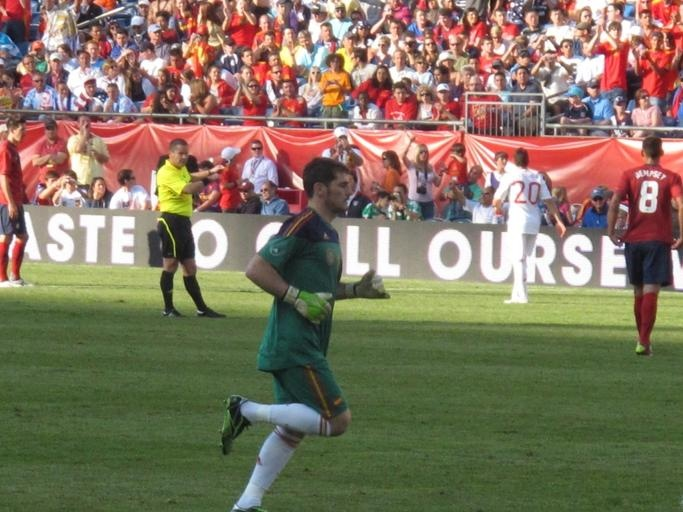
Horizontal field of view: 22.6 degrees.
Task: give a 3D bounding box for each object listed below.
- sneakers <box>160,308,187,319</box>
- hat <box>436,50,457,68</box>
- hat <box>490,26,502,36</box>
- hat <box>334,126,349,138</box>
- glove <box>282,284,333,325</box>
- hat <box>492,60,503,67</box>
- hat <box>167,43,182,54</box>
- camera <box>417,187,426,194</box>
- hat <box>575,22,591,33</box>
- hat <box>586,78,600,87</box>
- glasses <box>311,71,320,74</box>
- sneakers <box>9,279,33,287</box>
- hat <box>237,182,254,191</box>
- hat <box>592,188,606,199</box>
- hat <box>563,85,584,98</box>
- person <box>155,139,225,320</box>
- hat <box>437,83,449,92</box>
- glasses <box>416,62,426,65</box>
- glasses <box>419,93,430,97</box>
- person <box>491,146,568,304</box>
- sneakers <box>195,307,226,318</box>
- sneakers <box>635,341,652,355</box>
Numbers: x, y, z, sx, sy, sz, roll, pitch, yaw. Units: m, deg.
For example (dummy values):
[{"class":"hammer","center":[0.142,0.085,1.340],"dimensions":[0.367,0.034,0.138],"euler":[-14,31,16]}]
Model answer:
[{"class":"sneakers","center":[-2.678,0.936,27.106],"dimensions":[0.351,0.153,0.129],"euler":[0,0,4]},{"class":"hat","center":[2.105,-3.947,34.285],"dimensions":[0.360,0.333,0.766],"euler":[1,2,3]},{"class":"hat","center":[3.133,-4.548,34.658],"dimensions":[0.172,0.222,0.220],"euler":[-2,8,1]},{"class":"hat","center":[-0.015,-2.317,32.154],"dimensions":[0.216,0.193,0.198],"euler":[-1,3,-40]},{"class":"glove","center":[-0.404,0.583,20.429],"dimensions":[0.499,0.423,0.252],"euler":[13,35,14]},{"class":"hat","center":[3.089,-3.774,33.558],"dimensions":[0.202,0.178,0.349],"euler":[2,2,29]},{"class":"hat","center":[-3.460,-4.322,35.807],"dimensions":[0.240,0.118,0.241],"euler":[0,13,7]},{"class":"camera","center":[1.500,-1.230,32.080],"dimensions":[0.197,0.135,0.107],"euler":[1,-4,0]},{"class":"hat","center":[4.853,-4.607,34.386],"dimensions":[0.234,0.135,0.175],"euler":[24,30,21]},{"class":"hat","center":[4.908,-3.363,33.232],"dimensions":[0.256,0.208,0.447],"euler":[1,2,7]},{"class":"glasses","center":[-0.523,-3.674,34.211],"dimensions":[0.163,0.105,0.061],"euler":[1,2,23]},{"class":"sneakers","center":[-5.534,0.476,29.523],"dimensions":[0.338,0.146,0.127],"euler":[-1,7,-6]},{"class":"hat","center":[-1.804,-1.331,32.743],"dimensions":[0.216,0.207,0.168],"euler":[-1,5,-5]},{"class":"hat","center":[4.656,-1.125,31.061],"dimensions":[0.242,0.180,0.400],"euler":[-1,-3,5]},{"class":"hat","center":[4.527,-3.162,32.964],"dimensions":[0.314,0.168,0.217],"euler":[3,-3,-22]},{"class":"person","center":[-2.470,-0.416,26.875],"dimensions":[0.934,2.807,0.741],"euler":[2,2,31]},{"class":"hat","center":[1.965,-3.232,32.920],"dimensions":[0.148,0.212,0.211],"euler":[-3,1,1]},{"class":"glasses","center":[1.570,-3.845,33.961],"dimensions":[0.189,0.105,0.061],"euler":[1,2,18]},{"class":"glasses","center":[1.597,-3.104,32.925],"dimensions":[0.171,0.087,0.060],"euler":[2,3,39]},{"class":"person","center":[3.138,-0.499,29.306],"dimensions":[0.934,2.631,0.496],"euler":[1,2,0]},{"class":"sneakers","center":[-2.066,0.908,27.153],"dimensions":[0.488,0.195,0.167],"euler":[1,-3,4]},{"class":"sneakers","center":[4.451,1.373,25.170],"dimensions":[0.232,0.197,0.214],"euler":[1,2,5]}]
